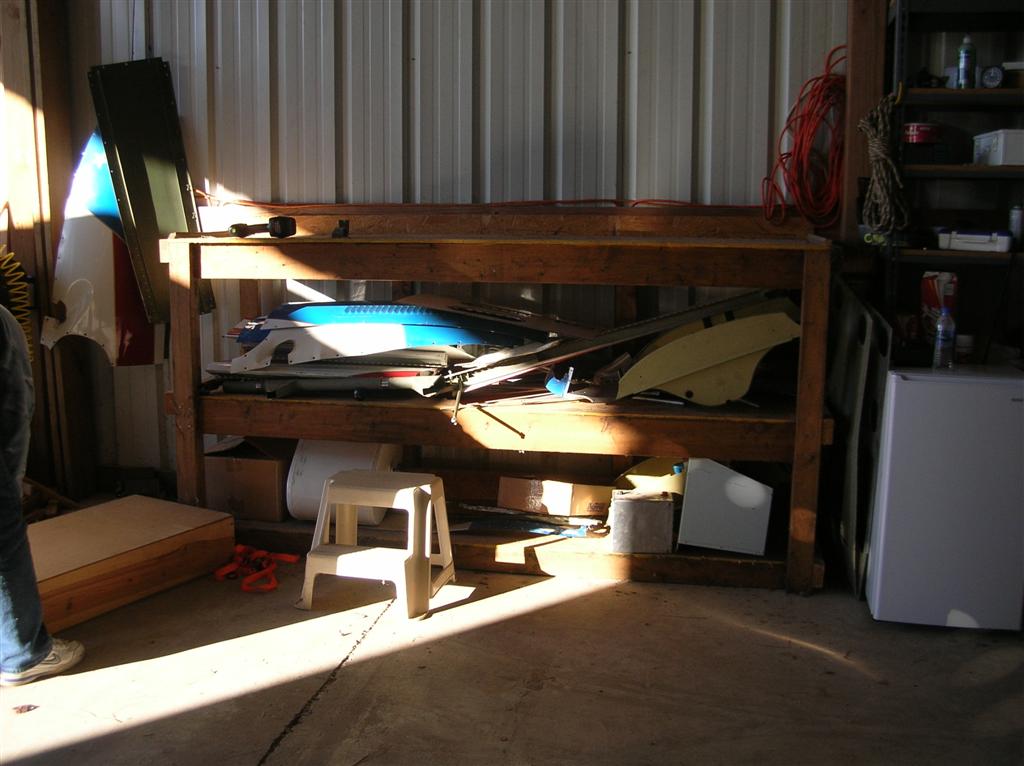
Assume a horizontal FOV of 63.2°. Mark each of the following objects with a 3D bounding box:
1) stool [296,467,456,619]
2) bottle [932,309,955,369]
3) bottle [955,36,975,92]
[{"bbox_3d":[-0.592,0.655,3.859,0.682,0.508,0.640,2,7,14],"label":"stool"},{"bbox_3d":[1.882,-0.197,3.642,0.073,0.244,0.226,3,12,25],"label":"bottle"},{"bbox_3d":[2.127,-1.503,3.899,0.083,0.250,0.172,4,13,27],"label":"bottle"}]
